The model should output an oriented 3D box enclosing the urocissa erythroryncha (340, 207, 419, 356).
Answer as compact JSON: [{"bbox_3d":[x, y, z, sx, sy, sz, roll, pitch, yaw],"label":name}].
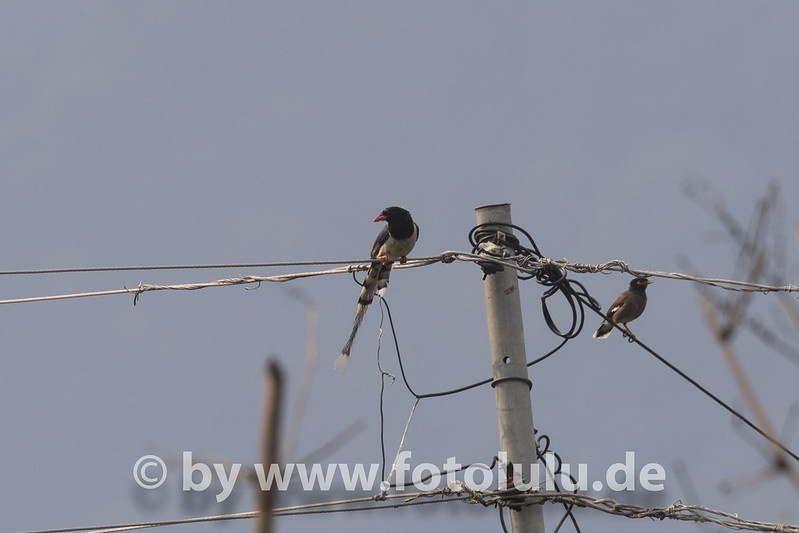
[{"bbox_3d":[-0.216,-0.194,24.516,0.743,0.783,2.492,-5,-15,-17],"label":"urocissa erythroryncha"}]
